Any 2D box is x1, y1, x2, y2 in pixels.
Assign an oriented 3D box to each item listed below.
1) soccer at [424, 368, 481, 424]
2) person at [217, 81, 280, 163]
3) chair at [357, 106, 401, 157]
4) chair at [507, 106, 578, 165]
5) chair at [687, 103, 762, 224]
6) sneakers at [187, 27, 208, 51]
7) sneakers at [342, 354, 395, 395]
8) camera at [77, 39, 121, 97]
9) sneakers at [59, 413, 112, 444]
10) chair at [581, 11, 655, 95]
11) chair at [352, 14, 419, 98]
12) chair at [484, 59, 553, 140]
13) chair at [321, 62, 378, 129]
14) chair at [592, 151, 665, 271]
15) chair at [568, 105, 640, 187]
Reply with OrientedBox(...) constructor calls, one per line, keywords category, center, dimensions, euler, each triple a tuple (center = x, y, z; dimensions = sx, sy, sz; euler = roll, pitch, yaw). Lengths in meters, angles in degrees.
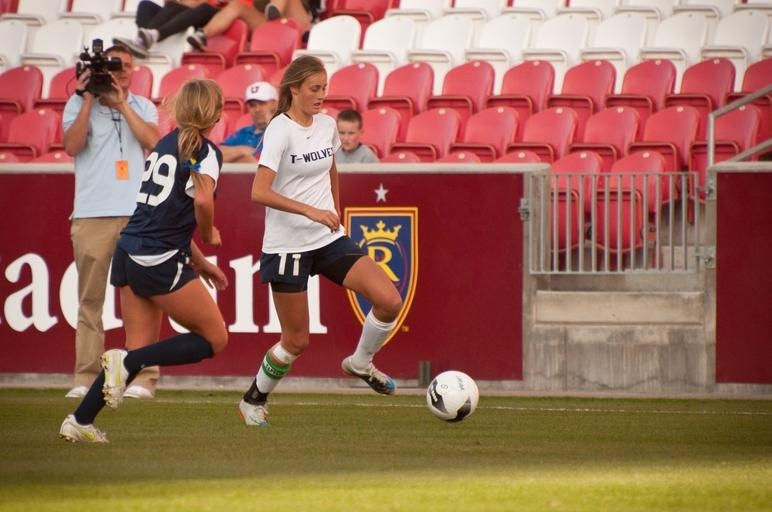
OrientedBox(category="soccer", center=(0.567, 1.256, 11.431), dimensions=(0.430, 0.437, 0.433), euler=(-1, 0, 4))
OrientedBox(category="person", center=(-1.459, -1.428, 14.422), dimensions=(0.679, 1.114, 1.110), euler=(0, 3, 1))
OrientedBox(category="chair", center=(-0.084, -1.540, 15.882), dimensions=(0.501, 0.660, 0.609), euler=(-1, -12, 8))
OrientedBox(category="chair", center=(1.938, -1.467, 15.313), dimensions=(0.661, 0.908, 0.793), euler=(8, 0, 33))
OrientedBox(category="chair", center=(3.735, -1.110, 14.339), dimensions=(0.782, 1.289, 2.317), euler=(5, -1, 24))
OrientedBox(category="sneakers", center=(-2.627, -2.982, 17.810), dimensions=(0.168, 0.197, 0.431), euler=(26, -24, 12))
OrientedBox(category="sneakers", center=(-0.159, 1.152, 12.473), dimensions=(0.538, 0.185, 0.232), euler=(28, -43, -12))
OrientedBox(category="camera", center=(-2.771, -1.779, 12.453), dimensions=(0.425, 0.598, 0.568), euler=(-1, -9, -9))
OrientedBox(category="sneakers", center=(-2.511, 1.439, 10.639), dimensions=(0.451, 0.214, 0.170), euler=(7, 9, -18))
OrientedBox(category="chair", center=(3.101, -2.716, 17.119), dimensions=(1.018, 1.403, 1.086), euler=(4, 2, 27))
OrientedBox(category="chair", center=(-0.007, -2.820, 17.852), dimensions=(1.017, 1.378, 1.063), euler=(3, 5, 17))
OrientedBox(category="chair", center=(1.553, -2.087, 16.481), dimensions=(0.776, 1.107, 0.957), euler=(1, -2, 29))
OrientedBox(category="chair", center=(-0.656, -2.208, 16.895), dimensions=(0.669, 0.927, 0.795), euler=(0, -5, 18))
OrientedBox(category="chair", center=(2.548, -0.503, 13.538), dimensions=(0.716, 1.136, 1.318), euler=(5, -1, 12))
OrientedBox(category="chair", center=(2.650, -1.383, 15.103), dimensions=(0.738, 1.022, 0.873), euler=(3, -4, 35))
